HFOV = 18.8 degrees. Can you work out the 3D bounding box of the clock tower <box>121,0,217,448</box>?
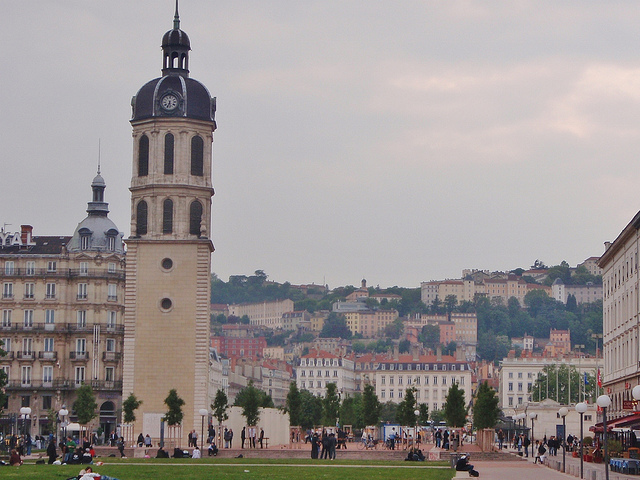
[{"bbox_3d":[-16.482,-1.057,211.452,9.360,48.506,4.588,0,-13,-5],"label":"clock tower"}]
